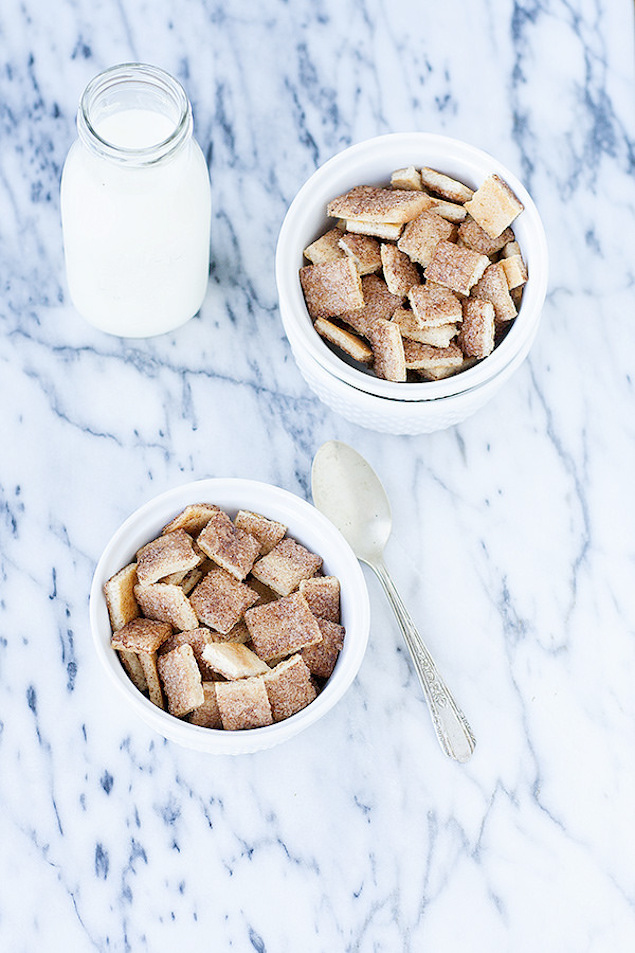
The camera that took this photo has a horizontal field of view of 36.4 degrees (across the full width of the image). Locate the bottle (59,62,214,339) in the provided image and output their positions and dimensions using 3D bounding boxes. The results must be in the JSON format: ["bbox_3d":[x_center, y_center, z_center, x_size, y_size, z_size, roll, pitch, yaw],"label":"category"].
[{"bbox_3d":[-0.160,-0.223,0.824,0.135,0.274,0.104,-2,69,-4],"label":"bottle"}]

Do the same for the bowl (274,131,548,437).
[{"bbox_3d":[0.078,-0.140,0.770,0.216,0.155,0.262,0,88,1],"label":"bowl"}]

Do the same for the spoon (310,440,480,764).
[{"bbox_3d":[0.054,0.096,0.909,0.080,0.035,0.419,-15,78,-17],"label":"spoon"}]

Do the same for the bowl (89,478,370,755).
[{"bbox_3d":[-0.062,0.154,0.817,0.205,0.094,0.236,3,71,-6],"label":"bowl"}]
